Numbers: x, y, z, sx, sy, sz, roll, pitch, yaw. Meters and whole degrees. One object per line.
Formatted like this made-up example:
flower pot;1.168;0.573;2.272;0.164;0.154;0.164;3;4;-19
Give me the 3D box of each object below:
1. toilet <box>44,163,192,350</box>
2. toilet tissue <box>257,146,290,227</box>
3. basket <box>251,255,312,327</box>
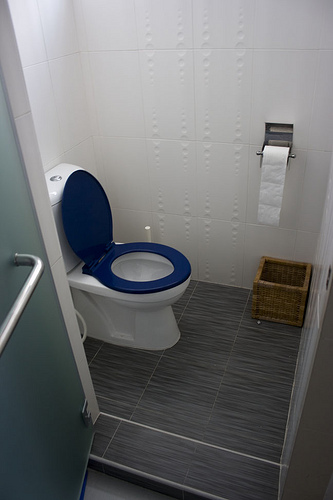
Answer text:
toilet;-0.213;0.034;1.529;0.532;0.847;0.397;10;34;13
toilet tissue;0.507;-0.295;1.537;0.127;0.357;0.098;2;28;10
basket;0.615;0.225;1.744;0.272;0.250;0.293;12;38;25
